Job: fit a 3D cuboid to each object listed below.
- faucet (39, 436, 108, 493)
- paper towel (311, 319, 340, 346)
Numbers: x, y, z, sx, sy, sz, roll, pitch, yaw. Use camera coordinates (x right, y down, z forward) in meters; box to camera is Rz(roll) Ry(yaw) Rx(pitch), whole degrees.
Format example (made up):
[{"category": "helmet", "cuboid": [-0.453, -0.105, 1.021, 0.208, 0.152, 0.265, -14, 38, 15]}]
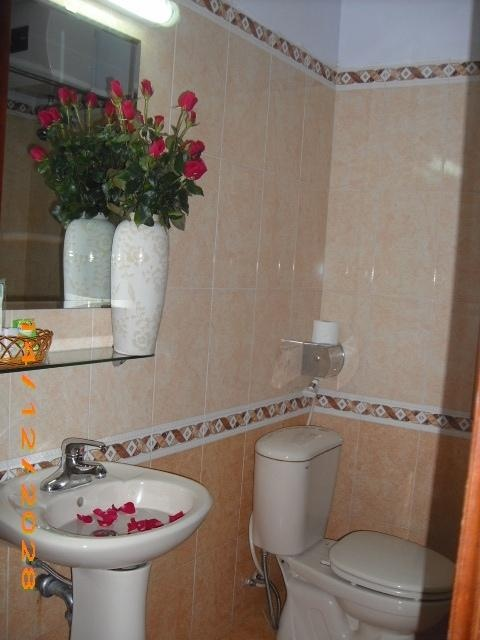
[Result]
[{"category": "faucet", "cuboid": [-0.321, 0.290, 1.063, 0.060, 0.108, 0.156, 0, -3, 42]}, {"category": "paper towel", "cuboid": [0.351, 0.051, 2.099, 0.130, 0.090, 0.100, 2, 5, -20]}]
